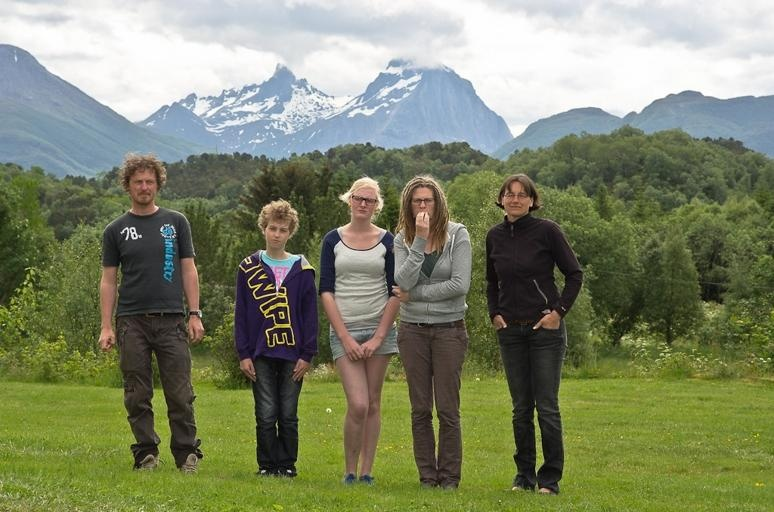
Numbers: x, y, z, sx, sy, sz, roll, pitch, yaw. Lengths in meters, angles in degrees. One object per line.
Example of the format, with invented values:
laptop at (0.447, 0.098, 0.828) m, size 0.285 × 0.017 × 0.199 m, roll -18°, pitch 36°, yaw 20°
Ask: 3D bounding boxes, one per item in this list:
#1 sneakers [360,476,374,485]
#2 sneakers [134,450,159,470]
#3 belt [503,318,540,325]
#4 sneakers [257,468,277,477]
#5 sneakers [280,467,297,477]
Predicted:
sneakers at (-0.360, 3.857, 13.318) m, size 0.168 × 0.128 × 0.132 m, roll -5°, pitch -6°, yaw 33°
sneakers at (-4.157, 3.506, 13.217) m, size 0.211 × 0.165 × 0.364 m, roll 4°, pitch -2°, yaw -36°
belt at (2.306, 1.135, 13.255) m, size 0.527 × 0.120 × 0.111 m, roll -1°, pitch -3°, yaw 8°
sneakers at (-2.109, 3.734, 13.362) m, size 0.372 × 0.124 × 0.238 m, roll -1°, pitch -3°, yaw 9°
sneakers at (-1.739, 3.765, 13.450) m, size 0.170 × 0.091 × 0.218 m, roll 6°, pitch -7°, yaw -25°
